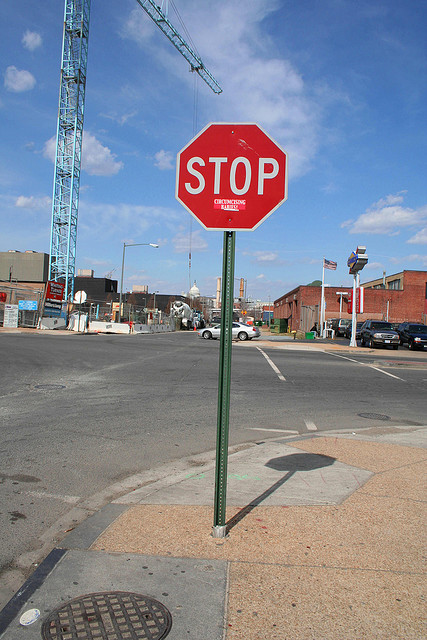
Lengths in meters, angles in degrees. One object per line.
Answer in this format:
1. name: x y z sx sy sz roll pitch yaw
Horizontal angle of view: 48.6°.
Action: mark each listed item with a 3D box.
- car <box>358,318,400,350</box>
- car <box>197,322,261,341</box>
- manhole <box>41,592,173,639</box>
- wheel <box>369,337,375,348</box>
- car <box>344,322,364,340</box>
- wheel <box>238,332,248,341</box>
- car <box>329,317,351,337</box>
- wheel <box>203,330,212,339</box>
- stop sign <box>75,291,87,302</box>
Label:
1. car: 11.531 0.926 33.175 1.546 1.535 3.522 1 -5 -1
2. car: 1.484 0.894 37.041 3.587 1.107 4.734 3 -2 39
3. manhole: -0.460 1.303 2.069 0.555 0.033 0.305 4 -2 -6
4. wheel: 10.935 1.543 32.555 0.315 0.692 1.180 3 -2 18
5. car: 15.293 1.032 51.110 1.234 1.209 2.297 0 -7 1
6. wheel: 2.285 1.194 36.598 0.605 0.647 0.237 -1 1 12
7. car: 15.152 0.814 57.044 1.619 1.498 3.056 0 8 5
8. wheel: -0.472 1.089 36.648 0.494 0.518 0.194 24 6 11
9. stop sign: -10.365 -1.879 37.314 0.813 0.851 0.192 3 4 23
